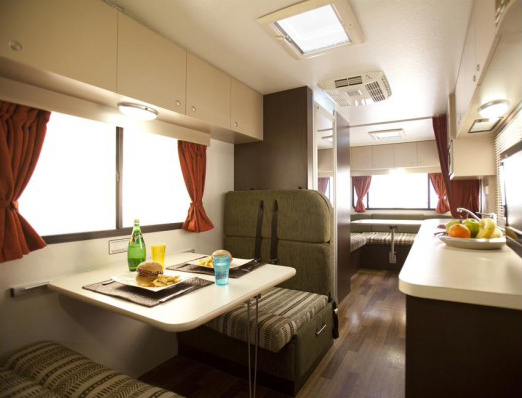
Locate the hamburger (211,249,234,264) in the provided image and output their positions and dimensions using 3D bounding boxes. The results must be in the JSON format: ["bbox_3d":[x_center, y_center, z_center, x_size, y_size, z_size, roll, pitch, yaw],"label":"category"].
[{"bbox_3d":[-0.244,0.333,2.196,0.133,0.087,0.137,4,-4,-25],"label":"hamburger"}]

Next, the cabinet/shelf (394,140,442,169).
[{"bbox_3d":[3.017,-0.980,6.770,0.820,0.543,0.481,1,36,29],"label":"cabinet/shelf"}]

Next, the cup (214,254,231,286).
[{"bbox_3d":[-0.237,0.427,2.170,0.108,0.180,0.114,1,1,0],"label":"cup"}]

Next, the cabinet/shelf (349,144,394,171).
[{"bbox_3d":[2.254,-0.837,6.981,0.759,0.517,0.433,-1,-3,37],"label":"cabinet/shelf"}]

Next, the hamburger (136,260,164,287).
[{"bbox_3d":[-0.683,0.436,2.146,0.170,0.145,0.160,11,0,-3],"label":"hamburger"}]

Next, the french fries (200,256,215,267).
[{"bbox_3d":[-0.379,0.442,2.500,0.079,0.036,0.101,1,-3,0],"label":"french fries"}]

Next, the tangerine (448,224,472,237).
[{"bbox_3d":[1.403,0.226,2.488,0.099,0.135,0.104,4,-13,-10],"label":"tangerine"}]

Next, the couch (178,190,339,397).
[{"bbox_3d":[-0.158,0.657,3.440,1.675,1.890,1.318,-1,-1,33],"label":"couch"}]

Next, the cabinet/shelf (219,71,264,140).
[{"bbox_3d":[-0.204,-0.903,3.364,0.163,0.454,0.513,1,0,27],"label":"cabinet/shelf"}]
